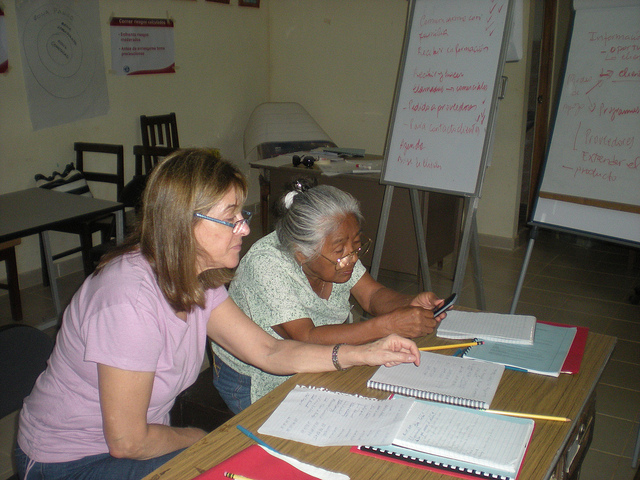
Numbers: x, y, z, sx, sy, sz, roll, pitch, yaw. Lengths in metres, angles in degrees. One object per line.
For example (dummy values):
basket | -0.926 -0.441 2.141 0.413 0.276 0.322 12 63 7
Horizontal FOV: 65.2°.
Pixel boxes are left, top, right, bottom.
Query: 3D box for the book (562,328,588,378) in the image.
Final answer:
book | 0.820 0.342 1.597 0.043 0.212 0.014 2 38 12

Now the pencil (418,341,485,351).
pencil | 0.437 0.348 1.642 0.204 0.018 0.016 -1 60 -9

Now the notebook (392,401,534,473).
notebook | 0.358 0.482 1.245 0.319 0.032 0.182 8 17 20

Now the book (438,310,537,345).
book | 0.624 0.301 1.870 0.343 0.062 0.541 1 4 25

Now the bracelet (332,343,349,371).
bracelet | 0.063 0.359 1.522 0.055 0.065 0.019 -1 -8 -37

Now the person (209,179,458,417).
person | -0.010 0.419 2.035 0.901 1.308 0.550 14 26 10

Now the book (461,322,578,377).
book | 0.675 0.347 1.648 0.320 0.043 0.338 5 17 38
